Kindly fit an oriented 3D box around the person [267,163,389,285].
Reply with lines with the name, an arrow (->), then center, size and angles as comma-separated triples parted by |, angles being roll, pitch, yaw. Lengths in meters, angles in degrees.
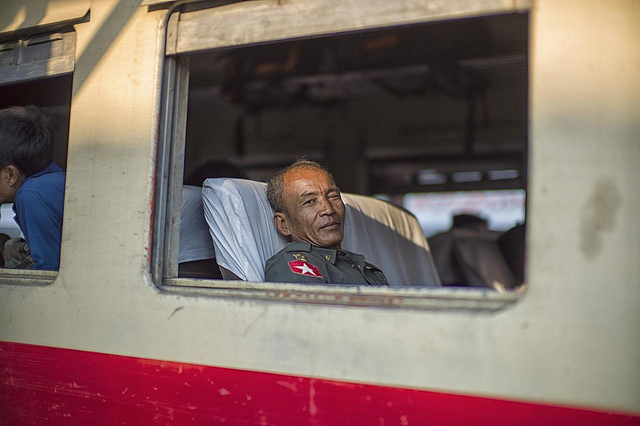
person -> 0.050, 0.078, 4.329 | 0.402, 0.561, 0.820 | -23, -16, 32
